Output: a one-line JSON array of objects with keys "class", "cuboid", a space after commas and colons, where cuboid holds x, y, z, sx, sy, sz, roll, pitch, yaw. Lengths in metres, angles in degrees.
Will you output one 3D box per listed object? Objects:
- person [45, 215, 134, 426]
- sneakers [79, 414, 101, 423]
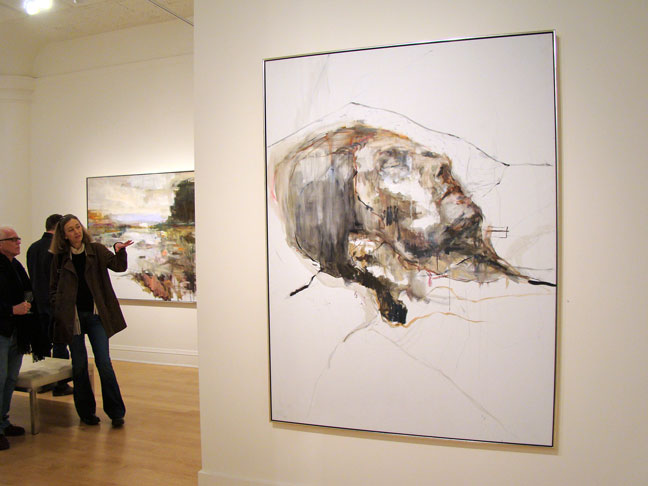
[{"class": "person", "cuboid": [-2.117, 0.721, 5.136, 0.716, 1.929, 0.462, -2, 9, -7]}, {"class": "sneakers", "cuboid": [-2.160, 1.620, 5.242, 0.193, 0.085, 0.069, -3, -6, 19]}]
